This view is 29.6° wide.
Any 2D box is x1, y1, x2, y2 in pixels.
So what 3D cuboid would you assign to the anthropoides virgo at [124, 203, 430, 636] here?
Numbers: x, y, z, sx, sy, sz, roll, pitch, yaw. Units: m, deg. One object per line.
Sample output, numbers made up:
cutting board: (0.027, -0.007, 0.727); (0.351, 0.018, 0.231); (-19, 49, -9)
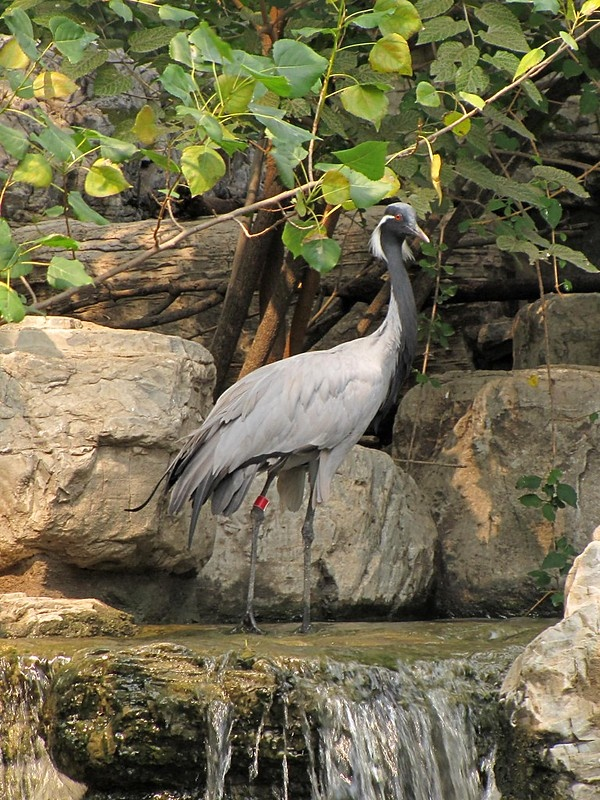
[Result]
anthropoides virgo: (-0.050, 0.041, 5.918); (1.379, 2.377, 0.752); (1, -24, 4)
